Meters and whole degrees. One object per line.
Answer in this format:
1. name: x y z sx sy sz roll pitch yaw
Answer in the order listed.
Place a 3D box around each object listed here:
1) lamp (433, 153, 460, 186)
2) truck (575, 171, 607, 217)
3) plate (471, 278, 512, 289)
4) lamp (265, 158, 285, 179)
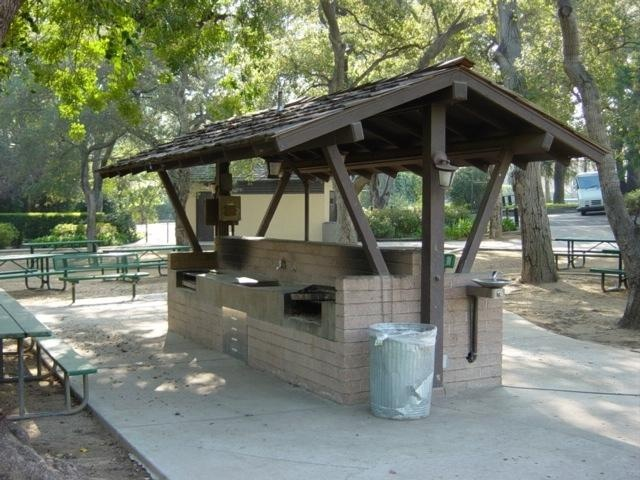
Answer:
1. lamp: 1.409 -0.764 6.158 0.154 0.382 0.378 2 3 37
2. truck: 17.225 -3.002 35.776 1.425 2.738 1.720 1 3 23
3. plate: 1.932 0.492 6.280 0.319 0.084 0.436 -1 2 -21
4. lamp: -0.894 -1.371 10.765 0.356 0.352 0.397 -1 -1 39
